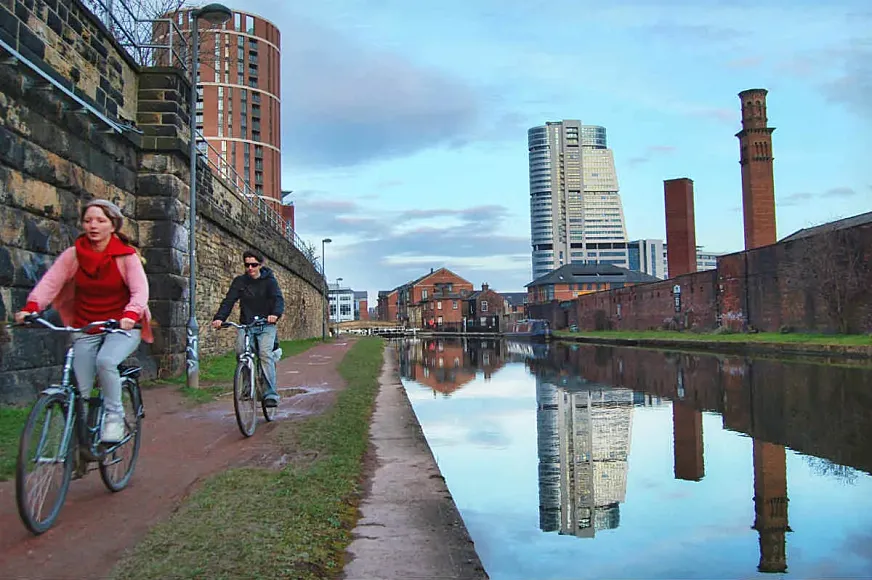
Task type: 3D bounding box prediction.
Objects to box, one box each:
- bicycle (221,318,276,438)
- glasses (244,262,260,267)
[{"bbox_3d":[-2.851,1.334,11.810,0.509,1.775,1.429,-2,-4,0],"label":"bicycle"},{"bbox_3d":[-2.872,-0.379,11.864,0.215,0.087,0.157,-1,-4,-4],"label":"glasses"}]
